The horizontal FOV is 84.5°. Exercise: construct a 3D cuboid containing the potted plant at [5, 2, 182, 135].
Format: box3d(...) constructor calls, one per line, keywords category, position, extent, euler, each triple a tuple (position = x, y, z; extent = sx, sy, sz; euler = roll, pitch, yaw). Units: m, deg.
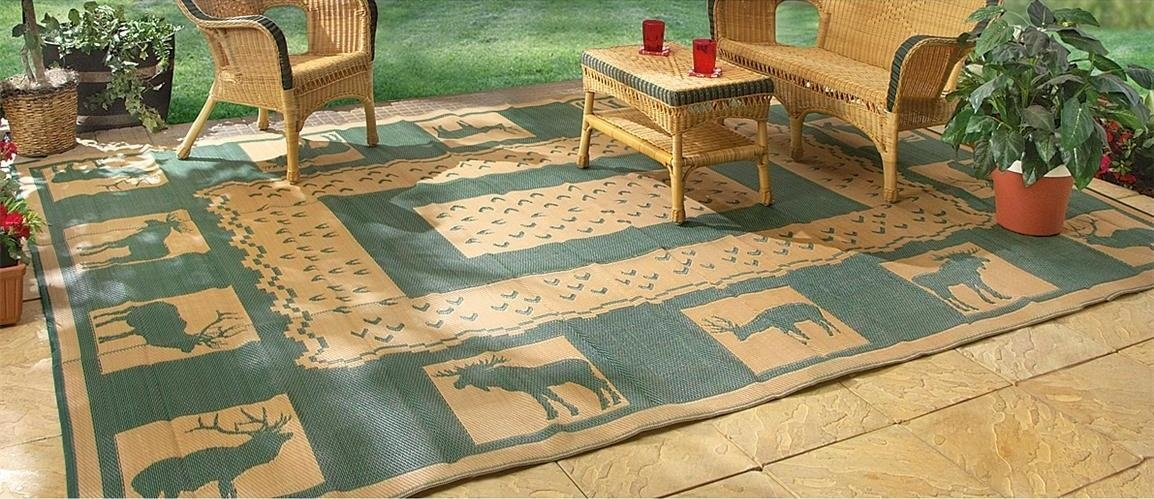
box3d(category="potted plant", position=(-4.065, -1.622, 5.856), extent=(1.680, 0.863, 1.229), euler=(1, 13, -9))
